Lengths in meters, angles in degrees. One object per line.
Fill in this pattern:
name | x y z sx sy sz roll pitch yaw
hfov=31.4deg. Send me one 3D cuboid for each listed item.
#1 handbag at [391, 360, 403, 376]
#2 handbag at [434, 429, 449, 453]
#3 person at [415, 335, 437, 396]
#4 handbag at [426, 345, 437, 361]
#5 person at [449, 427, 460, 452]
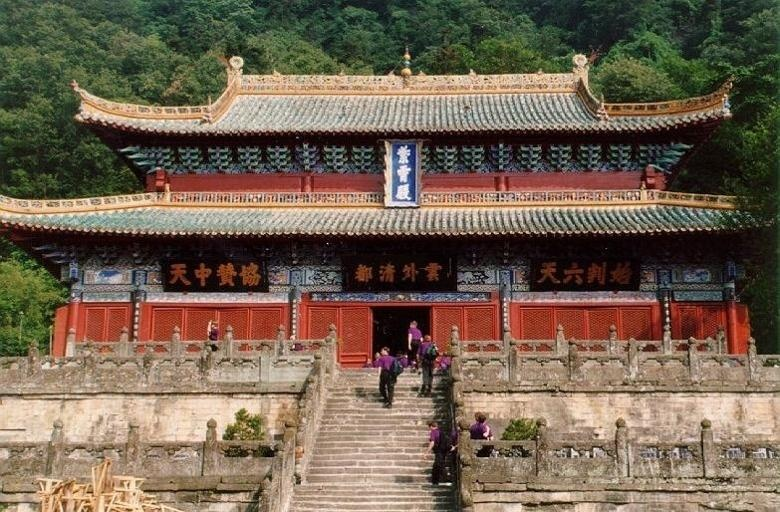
handbag | 0.329 5.079 62.082 0.735 0.519 0.902 1 76 -5
handbag | 2.290 8.108 59.867 0.609 0.480 0.888 4 59 -5
person | 1.752 4.946 63.150 0.964 1.065 2.596 10 75 -28
handbag | 1.914 4.427 62.719 0.651 0.412 0.775 1 58 4
person | 2.861 8.006 59.976 0.364 0.747 0.948 6 89 20
